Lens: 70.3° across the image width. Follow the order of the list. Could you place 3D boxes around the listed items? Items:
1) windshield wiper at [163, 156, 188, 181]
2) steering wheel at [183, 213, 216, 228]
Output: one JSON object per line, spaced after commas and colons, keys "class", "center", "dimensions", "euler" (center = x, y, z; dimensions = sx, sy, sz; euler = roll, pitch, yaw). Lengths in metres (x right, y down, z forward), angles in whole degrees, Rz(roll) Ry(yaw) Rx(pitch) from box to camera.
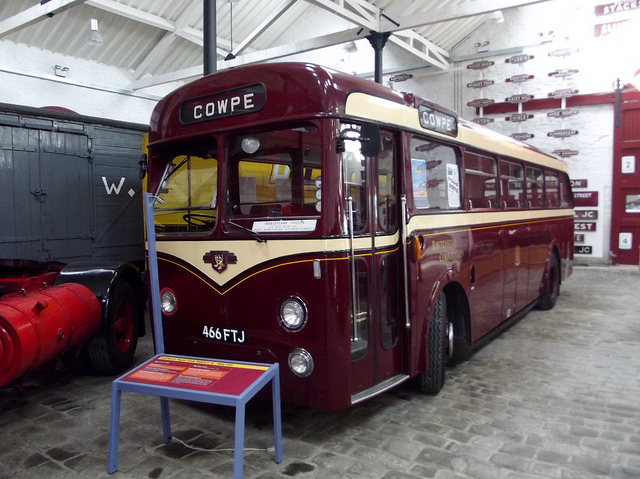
{"class": "windshield wiper", "center": [-1.638, -0.798, 5.215], "dimensions": [0.380, 0.065, 0.066], "euler": [-39, -2, 9]}
{"class": "steering wheel", "center": [-1.353, -0.205, 4.988], "dimensions": [0.212, 0.059, 0.211], "euler": [4, -7, 0]}
